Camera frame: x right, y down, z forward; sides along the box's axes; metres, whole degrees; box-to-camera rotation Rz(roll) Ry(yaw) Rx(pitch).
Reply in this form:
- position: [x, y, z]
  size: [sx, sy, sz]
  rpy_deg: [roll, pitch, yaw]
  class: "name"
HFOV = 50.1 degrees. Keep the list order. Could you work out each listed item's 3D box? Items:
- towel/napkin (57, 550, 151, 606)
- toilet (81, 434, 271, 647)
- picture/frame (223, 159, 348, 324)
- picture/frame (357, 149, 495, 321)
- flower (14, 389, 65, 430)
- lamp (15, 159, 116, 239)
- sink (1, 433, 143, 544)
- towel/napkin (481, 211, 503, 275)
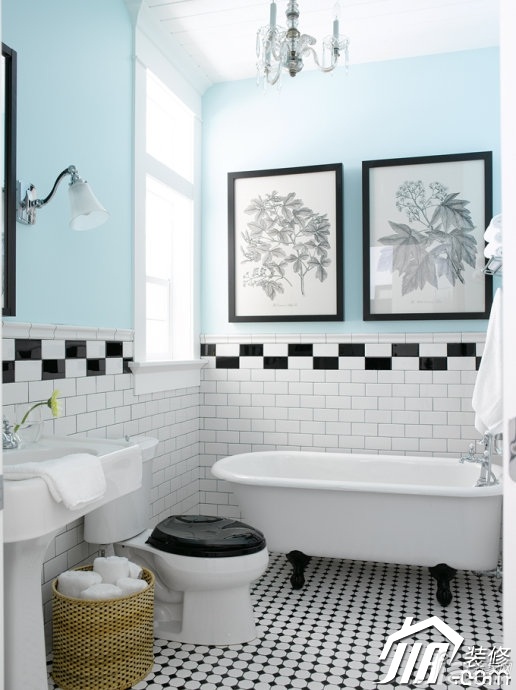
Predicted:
- position: [-0.557, 0.894, 2.071]
  size: [0.189, 0.089, 0.184]
  rpy_deg: [-3, -7, 40]
  class: "towel/napkin"
- position: [-0.338, 0.857, 2.495]
  size: [0.703, 0.880, 0.401]
  rpy_deg: [0, -3, 13]
  class: "toilet"
- position: [0.236, -0.696, 3.801]
  size: [0.951, 1.526, 0.057]
  rpy_deg: [-1, 0, 28]
  class: "picture/frame"
- position: [1.103, -0.692, 3.534]
  size: [0.944, 1.518, 0.046]
  rpy_deg: [0, 1, 15]
  class: "picture/frame"
- position: [-0.833, 0.254, 2.149]
  size: [0.140, 0.088, 0.084]
  rpy_deg: [-30, 33, 6]
  class: "flower"
- position: [-0.676, -0.554, 2.152]
  size: [0.398, 0.342, 0.188]
  rpy_deg: [0, 2, 15]
  class: "lamp"
- position: [-0.569, 0.453, 1.746]
  size: [0.340, 0.195, 0.655]
  rpy_deg: [1, 0, 11]
  class: "sink"
- position: [1.177, -0.470, 2.784]
  size: [0.071, 0.240, 1.005]
  rpy_deg: [-1, -2, 22]
  class: "towel/napkin"
